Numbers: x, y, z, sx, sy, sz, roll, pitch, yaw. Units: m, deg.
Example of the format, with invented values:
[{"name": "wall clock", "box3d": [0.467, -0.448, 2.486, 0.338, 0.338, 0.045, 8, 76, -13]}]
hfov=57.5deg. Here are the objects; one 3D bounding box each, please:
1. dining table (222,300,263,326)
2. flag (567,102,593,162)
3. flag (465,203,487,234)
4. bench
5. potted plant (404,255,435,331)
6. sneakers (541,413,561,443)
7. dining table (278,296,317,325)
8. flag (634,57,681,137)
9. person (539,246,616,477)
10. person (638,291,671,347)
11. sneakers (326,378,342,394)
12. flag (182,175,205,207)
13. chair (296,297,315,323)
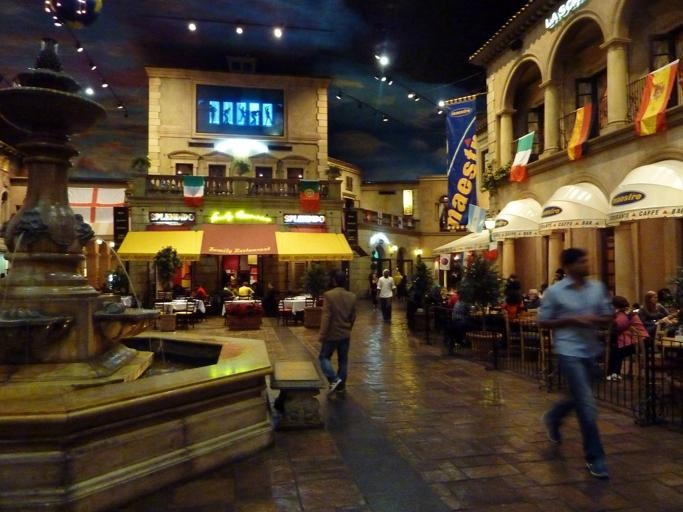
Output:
[{"name": "dining table", "box3d": [-3.160, 1.881, 19.818, 1.000, 0.637, 0.938, 1, -5, -12]}, {"name": "flag", "box3d": [7.079, -3.649, 18.543, 0.447, 1.586, 1.069, 0, 3, 0]}, {"name": "flag", "box3d": [4.746, -1.297, 21.923, 0.505, 0.960, 1.123, 0, 3, -9]}, {"name": "bench", "box3d": [-0.643, 2.121, 8.961, 0.743, 0.627, 1.382, -1, -2, -5]}, {"name": "potted plant", "box3d": [2.396, 1.290, 19.069, 0.765, 2.130, 1.529, 1, 3, 7]}, {"name": "sneakers", "box3d": [2.801, 2.349, 8.365, 0.173, 0.452, 0.203, -18, -10, 43]}, {"name": "dining table", "box3d": [-1.529, 1.896, 21.504, 1.170, 0.566, 1.153, 5, -8, -40]}, {"name": "flag", "box3d": [7.758, -3.822, 15.341, 0.356, 1.635, 1.275, 0, 3, -11]}, {"name": "person", "box3d": [2.926, 1.265, 7.829, 0.864, 2.698, 0.899, 2, 4, 22]}, {"name": "person", "box3d": [6.652, 1.397, 13.148, 0.554, 1.158, 0.664, -12, 11, -11]}, {"name": "sneakers", "box3d": [-0.142, 2.233, 10.628, 0.180, 0.255, 0.298, 2, 4, 30]}, {"name": "flag", "box3d": [-6.266, -2.664, 26.231, 1.434, 1.719, 0.148, -1, 1, -2]}, {"name": "chair", "box3d": [-1.192, 1.889, 21.021, 0.588, 0.813, 2.045, 0, 3, -4]}]
